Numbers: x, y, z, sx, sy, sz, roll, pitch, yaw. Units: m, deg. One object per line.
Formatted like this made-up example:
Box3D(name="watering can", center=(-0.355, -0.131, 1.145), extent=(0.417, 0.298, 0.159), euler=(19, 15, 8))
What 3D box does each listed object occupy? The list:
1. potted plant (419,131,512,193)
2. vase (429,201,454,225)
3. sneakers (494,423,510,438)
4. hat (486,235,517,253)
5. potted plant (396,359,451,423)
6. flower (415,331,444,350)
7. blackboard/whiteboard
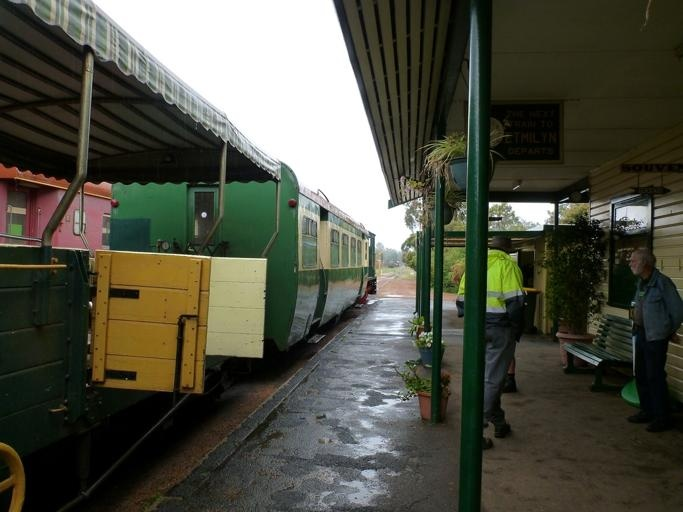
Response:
Box3D(name="potted plant", center=(1.277, -1.032, 5.844), extent=(0.805, 0.614, 0.883), euler=(-1, -7, 9))
Box3D(name="vase", center=(1.367, -0.594, 7.184), extent=(0.220, 0.359, 0.309), euler=(10, 37, 10))
Box3D(name="sneakers", center=(1.770, 1.931, 5.820), extent=(0.086, 0.127, 0.253), euler=(0, 4, 29))
Box3D(name="hat", center=(2.237, -0.175, 7.336), extent=(0.496, 0.257, 0.619), euler=(7, 5, 26))
Box3D(name="potted plant", center=(1.086, 1.719, 6.768), extent=(0.596, 0.727, 0.708), euler=(3, -13, -11))
Box3D(name="flower", center=(1.485, 1.447, 9.076), extent=(0.486, 0.354, 0.526), euler=(-2, -3, 23))
Box3D(name="blackboard/whiteboard", center=(2.136, -1.407, 6.060), extent=(0.908, 0.881, 0.109), euler=(1, -14, 2))
